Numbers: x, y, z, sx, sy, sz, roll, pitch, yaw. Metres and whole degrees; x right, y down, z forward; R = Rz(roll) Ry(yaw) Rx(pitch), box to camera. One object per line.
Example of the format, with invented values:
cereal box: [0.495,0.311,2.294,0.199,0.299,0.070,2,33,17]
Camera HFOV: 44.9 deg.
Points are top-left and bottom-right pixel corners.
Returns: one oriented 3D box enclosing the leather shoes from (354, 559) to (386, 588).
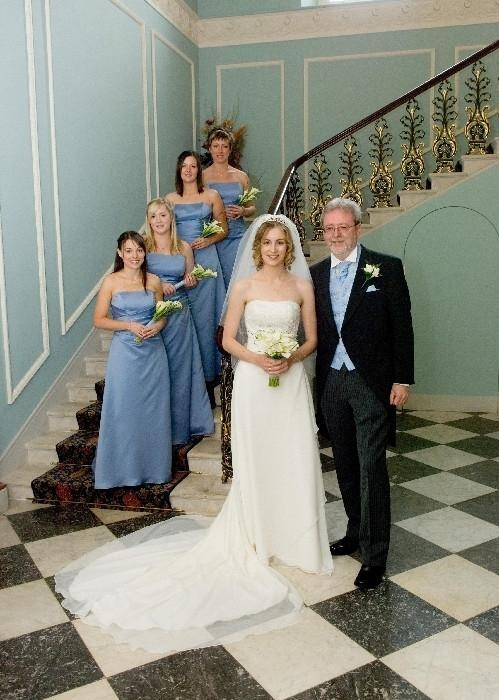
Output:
leather shoes: [0.525,0.967,2.616,0.066,0.062,0.161,4,1,35]

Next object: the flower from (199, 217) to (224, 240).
flower: [-0.263,-0.831,4.088,0.133,0.139,0.147,-19,3,2]

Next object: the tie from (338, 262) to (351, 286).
tie: [0.403,-0.334,2.583,0.056,0.085,0.023,3,4,37]

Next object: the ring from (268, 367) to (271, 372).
ring: [0.086,0.079,2.570,0.012,0.018,0.019,0,-10,-9]

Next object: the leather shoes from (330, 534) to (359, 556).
leather shoes: [0.482,0.944,2.903,0.178,0.063,0.063,7,-6,-32]

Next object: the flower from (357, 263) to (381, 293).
flower: [0.497,-0.298,2.492,0.107,0.101,0.103,14,4,28]

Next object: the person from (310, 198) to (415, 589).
person: [0.492,0.265,2.671,0.330,1.469,0.418,-4,9,-19]

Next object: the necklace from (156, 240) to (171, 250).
necklace: [-0.554,-0.678,3.906,0.061,0.071,0.028,-4,-3,-11]

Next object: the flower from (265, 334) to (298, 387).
flower: [0.134,0.051,2.566,0.132,0.253,0.211,-1,8,1]
